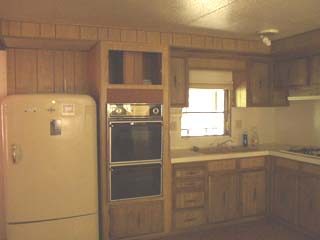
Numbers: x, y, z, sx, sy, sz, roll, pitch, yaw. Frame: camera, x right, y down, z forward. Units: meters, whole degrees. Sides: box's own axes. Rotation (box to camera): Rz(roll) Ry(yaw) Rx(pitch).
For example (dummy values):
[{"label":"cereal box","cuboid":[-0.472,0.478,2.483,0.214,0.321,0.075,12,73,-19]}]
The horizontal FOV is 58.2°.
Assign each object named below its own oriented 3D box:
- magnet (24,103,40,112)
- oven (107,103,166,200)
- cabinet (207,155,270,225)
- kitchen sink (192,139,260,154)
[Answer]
[{"label":"magnet","cuboid":[-1.513,-0.146,3.403,0.169,0.166,0.086,0,3,-16]},{"label":"oven","cuboid":[-0.401,0.388,4.115,0.822,1.382,0.761,0,6,-12]},{"label":"cabinet","cuboid":[1.110,1.028,4.465,0.945,0.998,0.626,2,3,-20]},{"label":"kitchen sink","cuboid":[1.045,0.428,4.535,1.001,0.161,0.594,-3,3,-20]}]
